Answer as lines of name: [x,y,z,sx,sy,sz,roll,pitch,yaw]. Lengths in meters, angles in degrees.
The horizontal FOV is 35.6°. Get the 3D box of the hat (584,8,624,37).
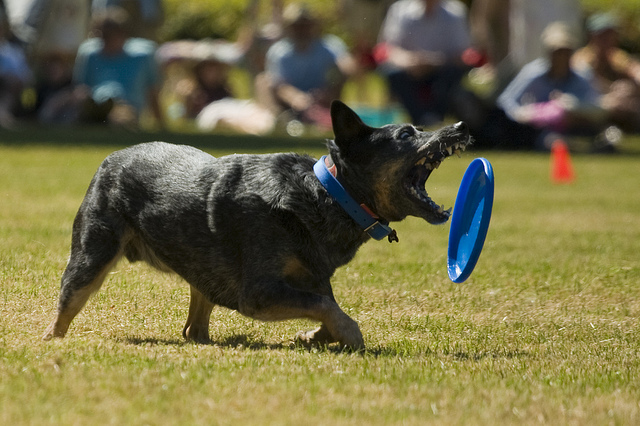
hat: [5.388,-3.614,18.883,0.814,0.266,0.564,-10,41,-27]
